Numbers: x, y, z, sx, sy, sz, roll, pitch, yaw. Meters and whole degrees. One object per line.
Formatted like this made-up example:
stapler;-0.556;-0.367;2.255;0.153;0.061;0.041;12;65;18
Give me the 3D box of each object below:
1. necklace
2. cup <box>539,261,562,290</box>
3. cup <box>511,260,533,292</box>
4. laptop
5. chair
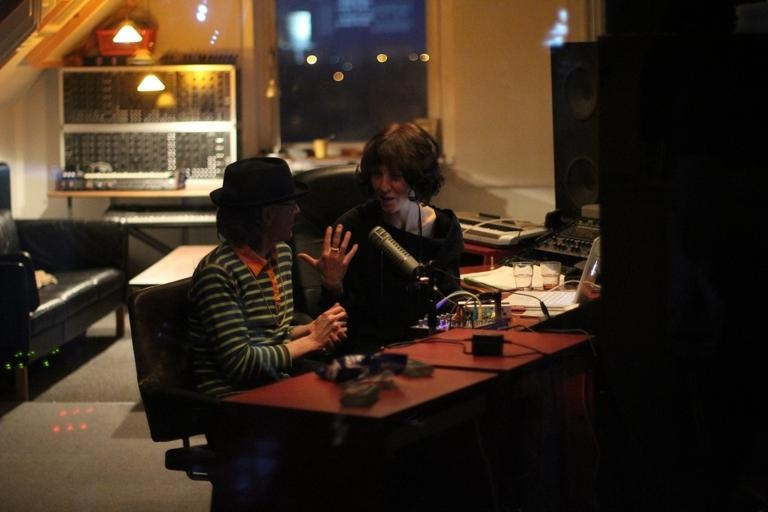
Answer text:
necklace;-0.293;0.049;1.548;0.041;0.150;0.088;-12;5;28
cup;0.467;0.049;1.867;0.070;0.080;0.072;0;-1;0
cup;0.382;0.052;1.829;0.072;0.102;0.065;1;-1;-2
laptop;0.402;0.034;1.641;0.166;0.200;0.228;8;13;14
chair;-0.315;0.156;2.082;0.773;0.835;1.317;4;5;40
